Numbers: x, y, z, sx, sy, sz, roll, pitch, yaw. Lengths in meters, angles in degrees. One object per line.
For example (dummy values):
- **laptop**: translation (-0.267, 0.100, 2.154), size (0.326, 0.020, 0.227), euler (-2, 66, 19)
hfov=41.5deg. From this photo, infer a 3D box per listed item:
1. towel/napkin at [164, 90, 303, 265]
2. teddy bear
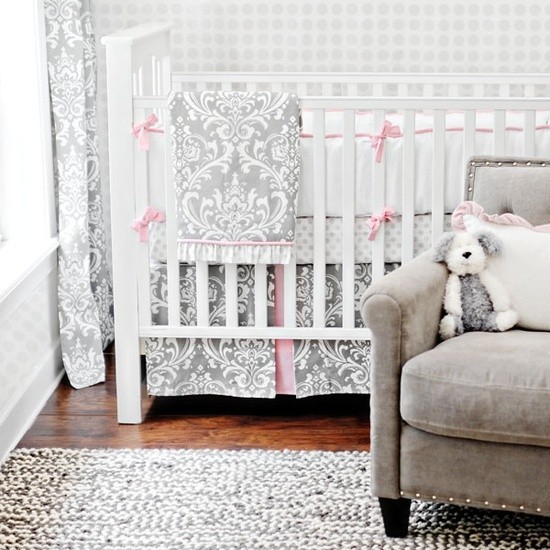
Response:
- **towel/napkin**: translation (-0.117, -0.277, 2.030), size (0.516, 0.579, 0.068), euler (0, 4, 1)
- **teddy bear**: translation (0.480, 0.022, 1.780), size (0.197, 0.258, 0.168), euler (-8, 6, -4)
